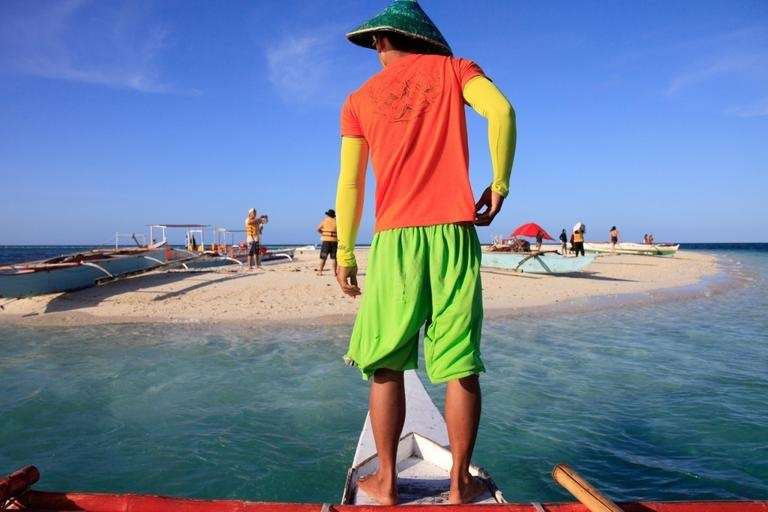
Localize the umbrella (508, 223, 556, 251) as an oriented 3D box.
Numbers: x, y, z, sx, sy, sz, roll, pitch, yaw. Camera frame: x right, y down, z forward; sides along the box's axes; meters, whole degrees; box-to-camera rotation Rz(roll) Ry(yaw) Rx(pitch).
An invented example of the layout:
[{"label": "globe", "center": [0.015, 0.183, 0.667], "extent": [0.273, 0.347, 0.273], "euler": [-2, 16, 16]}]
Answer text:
[{"label": "umbrella", "center": [6.932, -0.809, 21.731], "extent": [1.391, 0.894, 1.405], "euler": [7, 10, 29]}]

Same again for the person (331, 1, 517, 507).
[{"label": "person", "center": [0.217, 0.169, 3.447], "extent": [1.339, 3.307, 0.944], "euler": [4, 15, 13]}]

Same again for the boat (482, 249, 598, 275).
[{"label": "boat", "center": [5.602, 0.248, 17.347], "extent": [4.471, 0.691, 2.194], "euler": [1, 3, 35]}]
